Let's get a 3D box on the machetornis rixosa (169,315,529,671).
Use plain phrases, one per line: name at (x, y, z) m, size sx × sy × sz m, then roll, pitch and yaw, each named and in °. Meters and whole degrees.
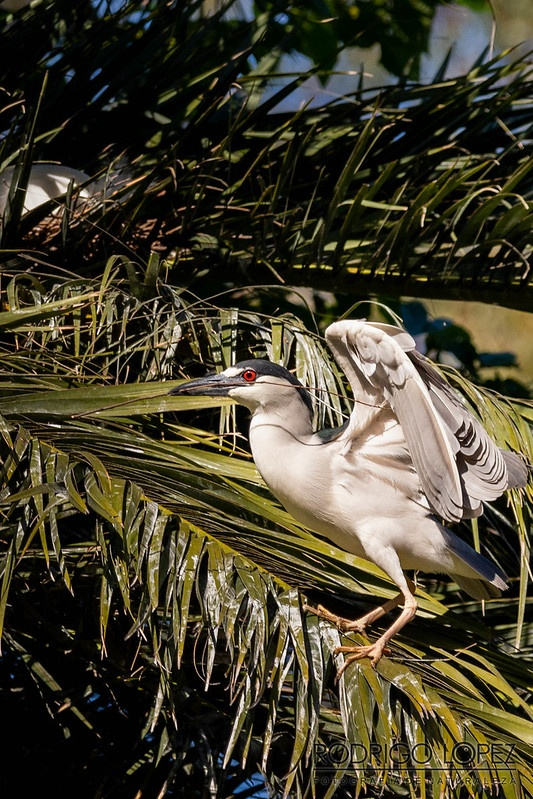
machetornis rixosa at (0.204, 0.141, 2.283) m, size 0.789 × 0.639 × 0.513 m, roll 19°, pitch 28°, yaw 25°
